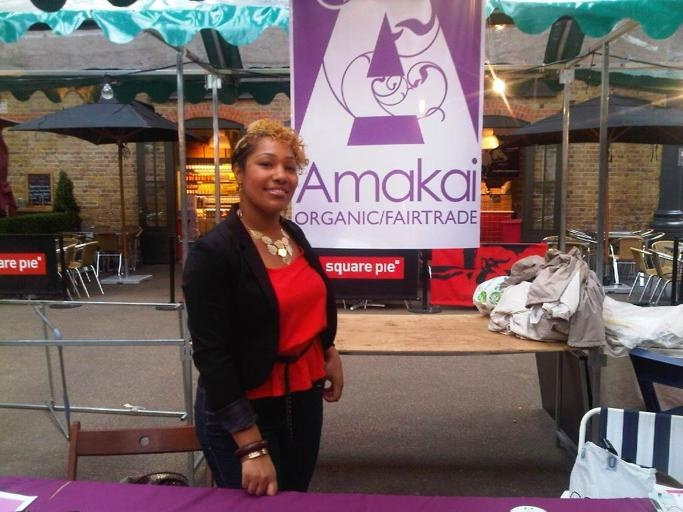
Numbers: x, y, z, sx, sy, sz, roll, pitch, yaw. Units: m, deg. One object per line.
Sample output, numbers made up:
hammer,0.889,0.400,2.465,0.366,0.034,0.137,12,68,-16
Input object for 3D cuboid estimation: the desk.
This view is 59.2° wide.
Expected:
desk,0.973,1.074,4.987,1.997,1.214,1.698,1,11,1

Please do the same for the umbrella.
umbrella,-3.947,-1.823,10.910,2.068,1.767,1.762,1,-2,20

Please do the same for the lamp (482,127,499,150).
lamp,3.812,-2.979,15.453,0.413,0.545,0.850,3,11,13

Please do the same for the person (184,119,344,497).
person,-0.397,0.278,3.055,0.527,1.902,0.776,6,12,24
